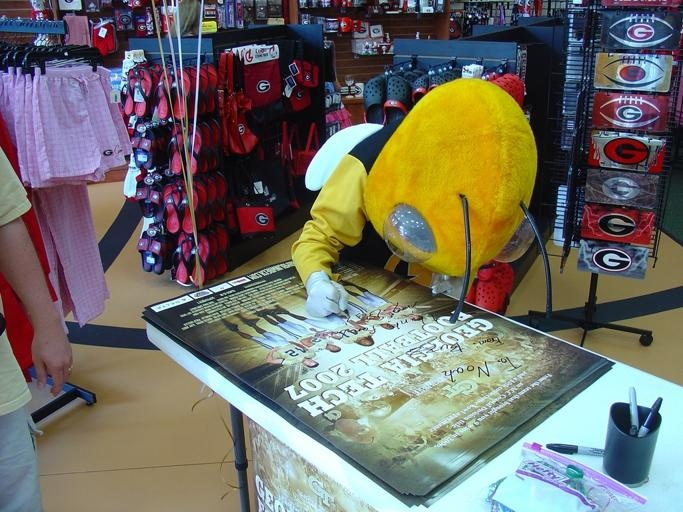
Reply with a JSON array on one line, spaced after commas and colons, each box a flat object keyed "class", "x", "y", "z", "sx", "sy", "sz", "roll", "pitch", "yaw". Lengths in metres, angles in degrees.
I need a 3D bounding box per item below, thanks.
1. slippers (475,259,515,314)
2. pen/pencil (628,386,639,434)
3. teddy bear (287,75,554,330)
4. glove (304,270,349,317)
[{"class": "slippers", "x": 0.792, "y": 0.133, "z": 2.498, "sx": 0.200, "sy": 0.125, "sz": 0.346, "roll": 38, "pitch": 44, "yaw": -7}, {"class": "pen/pencil", "x": 0.510, "y": 0.273, "z": 0.844, "sx": 0.012, "sy": 0.075, "sz": 0.013, "roll": -4, "pitch": -5, "yaw": -8}, {"class": "teddy bear", "x": 0.187, "y": -0.173, "z": 1.412, "sx": 0.591, "sy": 0.580, "sz": 0.853, "roll": -8, "pitch": 27, "yaw": -24}, {"class": "glove", "x": -0.047, "y": 0.105, "z": 1.310, "sx": 0.050, "sy": 0.085, "sz": 0.115, "roll": -30, "pitch": 63, "yaw": -36}]
